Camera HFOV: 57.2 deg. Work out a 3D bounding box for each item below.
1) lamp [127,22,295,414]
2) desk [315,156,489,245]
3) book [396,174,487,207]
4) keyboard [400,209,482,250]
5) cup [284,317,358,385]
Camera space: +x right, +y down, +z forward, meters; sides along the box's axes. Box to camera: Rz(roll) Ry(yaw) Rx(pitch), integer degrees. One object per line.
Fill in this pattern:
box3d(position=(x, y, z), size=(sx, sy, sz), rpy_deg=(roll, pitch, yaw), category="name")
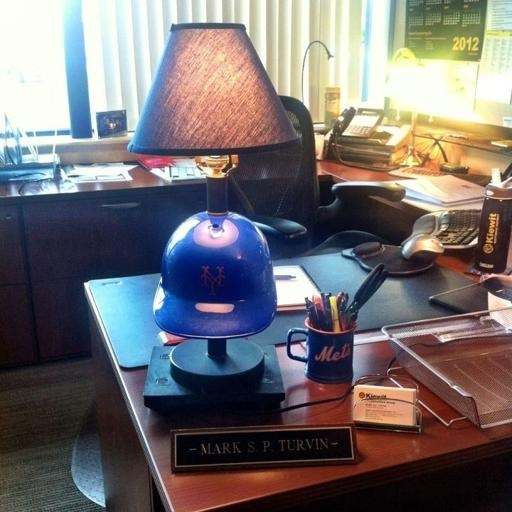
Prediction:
box3d(position=(-0.066, -0.047, 0.686), size=(0.254, 0.549, 0.202), rpy_deg=(-1, 21, 4), category="lamp")
box3d(position=(0.701, -0.254, 2.246), size=(0.756, 0.437, 0.371), rpy_deg=(-10, 27, -29), category="desk")
box3d(position=(0.818, -0.289, 2.039), size=(0.256, 0.024, 0.215), rpy_deg=(-8, 23, -19), category="book")
box3d(position=(0.629, -0.094, 1.521), size=(0.151, 0.033, 0.255), rpy_deg=(8, 26, 26), category="keyboard")
box3d(position=(0.120, 0.167, 0.835), size=(0.136, 0.104, 0.082), rpy_deg=(-1, 13, 5), category="cup")
